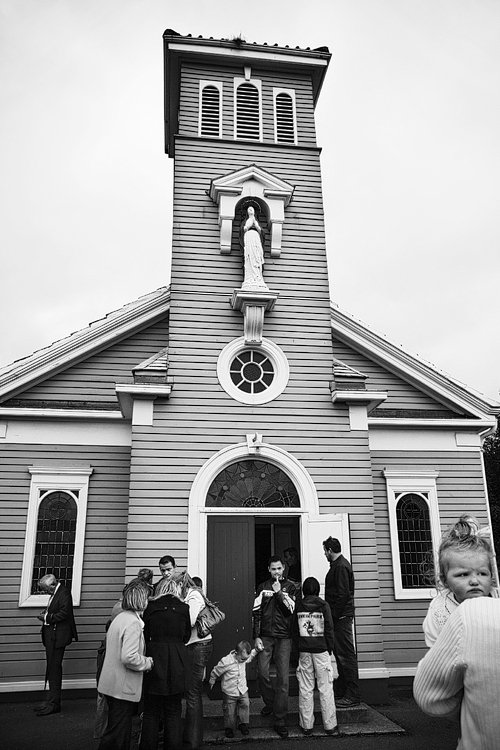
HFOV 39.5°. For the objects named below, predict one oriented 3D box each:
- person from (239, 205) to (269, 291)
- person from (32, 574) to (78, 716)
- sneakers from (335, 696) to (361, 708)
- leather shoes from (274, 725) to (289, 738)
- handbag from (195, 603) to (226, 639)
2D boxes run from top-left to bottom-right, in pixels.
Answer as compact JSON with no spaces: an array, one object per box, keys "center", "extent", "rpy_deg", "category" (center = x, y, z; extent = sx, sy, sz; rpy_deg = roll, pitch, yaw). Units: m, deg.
[{"center":[0.053,-1.884,10.771],"extent":[0.356,1.469,0.483],"rpy_deg":[1,-19,-2],"category":"person"},{"center":[-2.472,3.385,8.727],"extent":[0.391,1.639,0.823],"rpy_deg":[-3,-19,7],"category":"person"},{"center":[1.091,3.680,7.803],"extent":[0.256,0.116,0.096],"rpy_deg":[9,-13,-5],"category":"sneakers"},{"center":[0.318,3.627,7.090],"extent":[0.072,0.082,0.192],"rpy_deg":[3,18,-11],"category":"leather shoes"},{"center":[-0.410,2.419,6.814],"extent":[0.262,0.326,0.170],"rpy_deg":[2,-19,-6],"category":"handbag"}]
